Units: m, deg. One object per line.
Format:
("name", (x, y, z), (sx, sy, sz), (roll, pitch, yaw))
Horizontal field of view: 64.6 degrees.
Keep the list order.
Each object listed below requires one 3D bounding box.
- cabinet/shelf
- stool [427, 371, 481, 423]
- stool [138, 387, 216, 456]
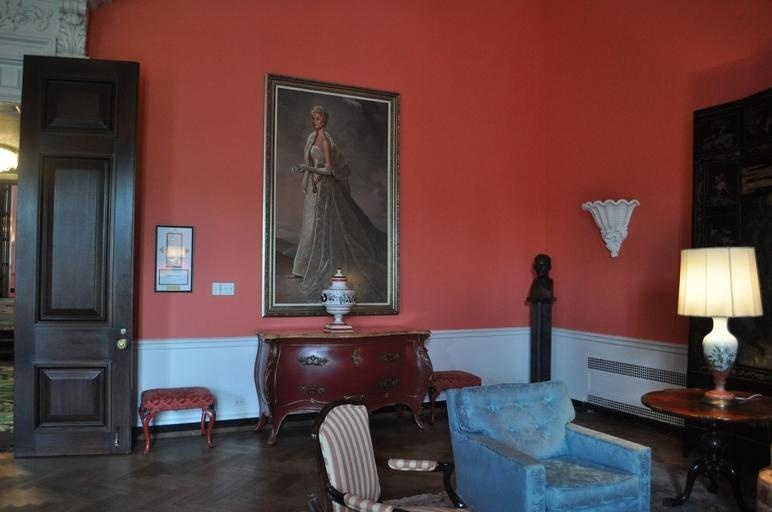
("cabinet/shelf", (-0.503, 1.485, 7.413), (2.025, 1.216, 0.846), (0, 1, -18))
("stool", (0.871, 1.800, 8.117), (0.669, 0.583, 0.910), (-4, -2, 2))
("stool", (-2.374, 1.822, 6.895), (0.795, 0.568, 0.586), (1, -2, -21))
